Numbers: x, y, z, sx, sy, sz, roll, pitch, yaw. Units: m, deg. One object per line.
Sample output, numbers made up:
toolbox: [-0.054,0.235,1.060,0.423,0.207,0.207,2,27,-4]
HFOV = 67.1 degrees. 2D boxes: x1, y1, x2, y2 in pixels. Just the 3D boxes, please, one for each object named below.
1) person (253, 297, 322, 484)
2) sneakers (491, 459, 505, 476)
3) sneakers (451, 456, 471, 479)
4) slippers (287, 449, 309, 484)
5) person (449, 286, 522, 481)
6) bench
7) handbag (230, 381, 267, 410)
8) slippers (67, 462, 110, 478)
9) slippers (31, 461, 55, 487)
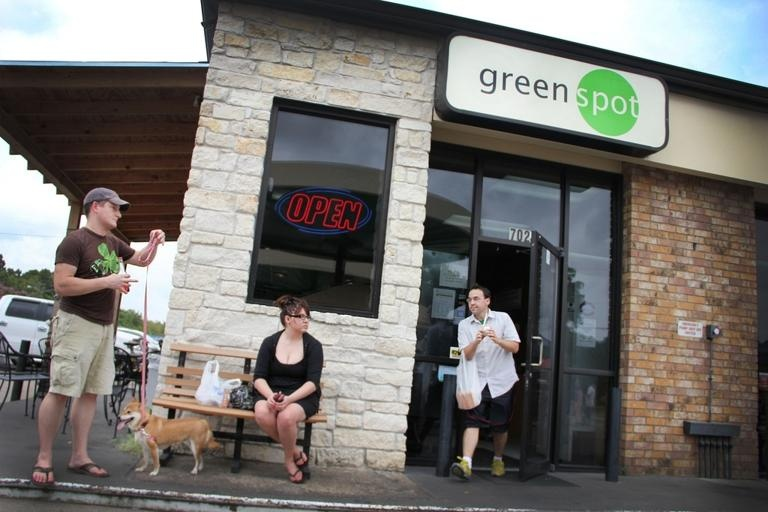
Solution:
person: [-1.136,1.519,6.734,0.782,2.049,0.349,10,-12,-10]
sneakers: [1.539,2.810,7.802,0.142,0.106,0.266,0,-4,1]
sneakers: [0.950,2.678,7.327,0.163,0.237,0.345,-17,-54,27]
slippers: [-0.975,2.427,6.647,0.171,0.097,0.425,-1,1,-15]
person: [1.374,1.642,7.724,0.899,2.476,0.697,10,-12,-12]
bench: [-1.747,1.845,6.880,1.542,0.905,0.579,10,-12,-7]
handbag: [-1.648,1.644,6.816,0.326,0.284,0.076,-1,-19,-4]
slippers: [-3.157,2.283,6.219,0.412,0.100,0.168,-1,-7,30]
slippers: [-3.466,2.201,5.893,0.232,0.205,0.138,10,-11,-17]
